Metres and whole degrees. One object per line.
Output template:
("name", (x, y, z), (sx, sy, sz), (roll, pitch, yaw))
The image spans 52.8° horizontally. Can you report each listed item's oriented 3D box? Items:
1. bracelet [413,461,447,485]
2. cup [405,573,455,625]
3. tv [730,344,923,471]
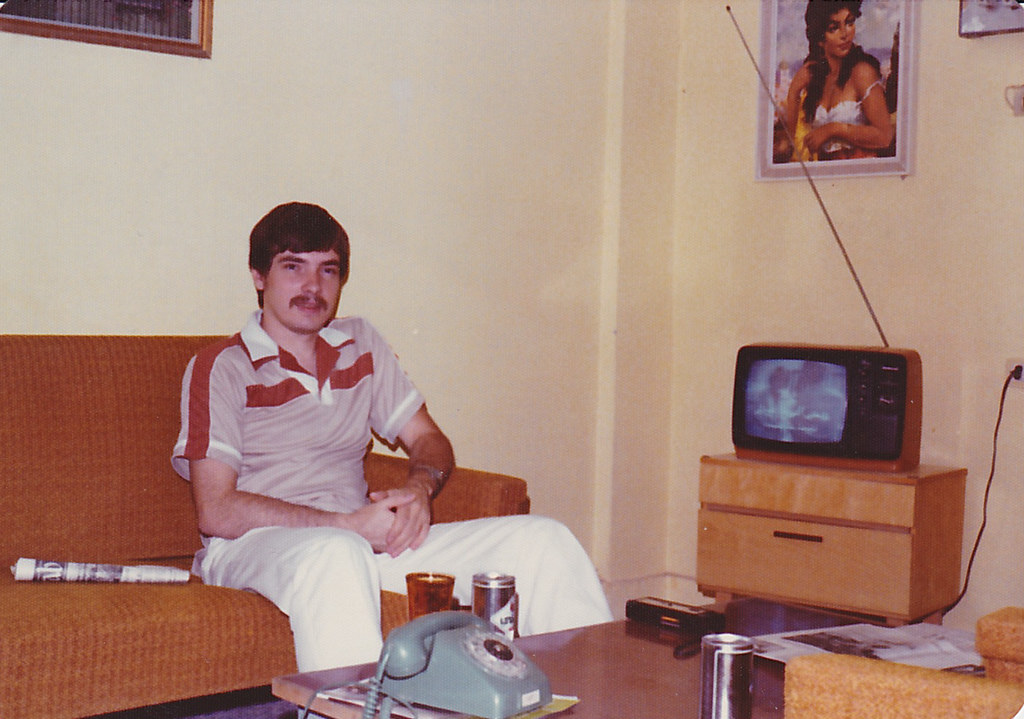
("bracelet", (-0.219, 0.317, 2.844), (0.063, 0.048, 0.064), (7, -15, 5))
("cup", (-0.159, 0.491, 2.137), (0.090, 0.101, 0.091), (4, 1, 0))
("tv", (1.016, 0.149, 3.366), (0.681, 0.481, 0.382), (0, -5, 32))
